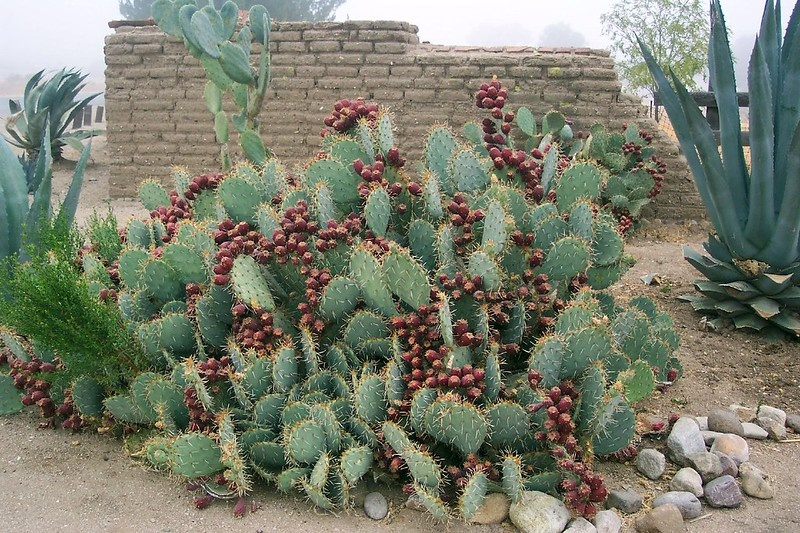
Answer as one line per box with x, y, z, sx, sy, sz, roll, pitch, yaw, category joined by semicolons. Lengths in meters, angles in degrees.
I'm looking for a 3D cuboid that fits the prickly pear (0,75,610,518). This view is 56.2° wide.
-0.299;0.272;5.198;3.672;1.696;2.776;2;18;2;prickly pear
